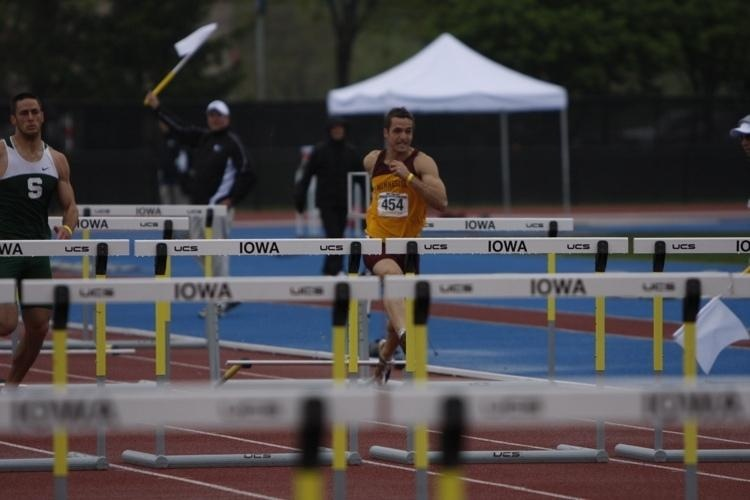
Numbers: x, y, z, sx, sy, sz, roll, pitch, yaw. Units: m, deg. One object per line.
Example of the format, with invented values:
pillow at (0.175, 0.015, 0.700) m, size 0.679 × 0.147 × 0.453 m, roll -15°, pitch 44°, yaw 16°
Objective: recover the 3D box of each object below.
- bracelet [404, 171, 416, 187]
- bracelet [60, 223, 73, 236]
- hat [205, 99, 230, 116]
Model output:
bracelet at (0.492, -1.038, 21.314) m, size 0.142 × 0.178 × 0.130 m, roll -2°, pitch 7°, yaw -1°
bracelet at (-4.360, -0.291, 21.135) m, size 0.167 × 0.150 × 0.151 m, roll -4°, pitch 7°, yaw -35°
hat at (-2.530, -2.420, 24.257) m, size 0.364 × 0.228 × 0.354 m, roll 8°, pitch -7°, yaw 2°
